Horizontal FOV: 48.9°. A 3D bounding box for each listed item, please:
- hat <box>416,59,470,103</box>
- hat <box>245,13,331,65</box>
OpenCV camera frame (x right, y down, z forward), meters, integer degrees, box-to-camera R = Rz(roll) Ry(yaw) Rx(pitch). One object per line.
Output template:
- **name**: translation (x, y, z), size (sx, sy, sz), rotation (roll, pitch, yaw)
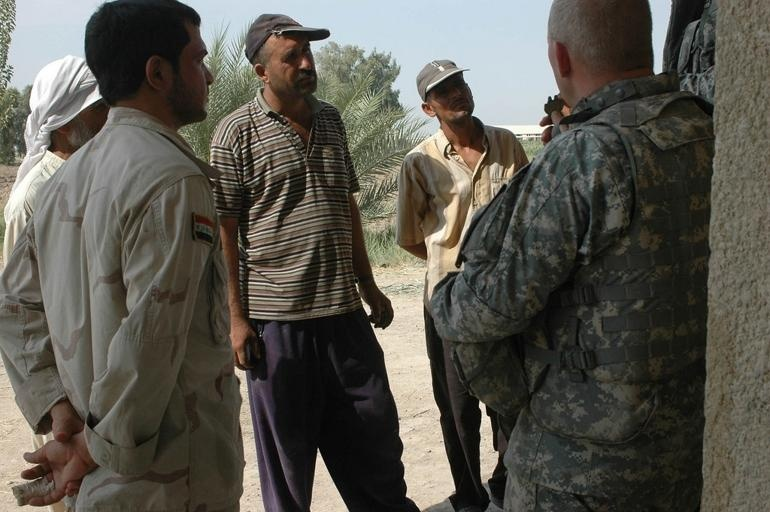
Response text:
- **hat**: translation (0.278, -0.992, 4.687), size (0.234, 0.148, 0.306), rotation (-27, 6, -36)
- **hat**: translation (-0.501, -1.095, 4.112), size (0.421, 0.195, 0.261), rotation (-10, 13, 27)
